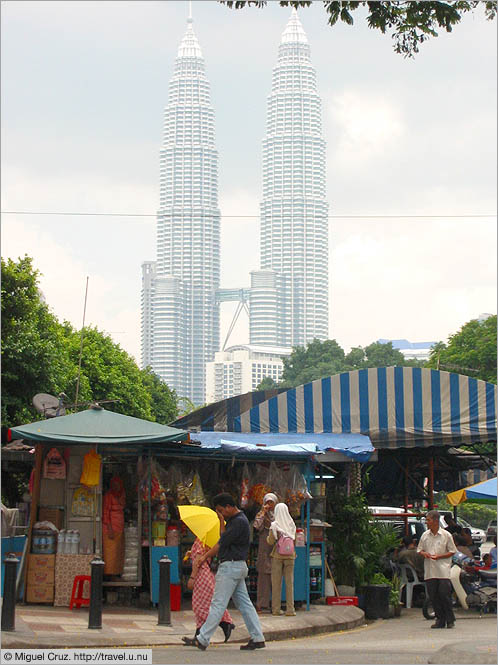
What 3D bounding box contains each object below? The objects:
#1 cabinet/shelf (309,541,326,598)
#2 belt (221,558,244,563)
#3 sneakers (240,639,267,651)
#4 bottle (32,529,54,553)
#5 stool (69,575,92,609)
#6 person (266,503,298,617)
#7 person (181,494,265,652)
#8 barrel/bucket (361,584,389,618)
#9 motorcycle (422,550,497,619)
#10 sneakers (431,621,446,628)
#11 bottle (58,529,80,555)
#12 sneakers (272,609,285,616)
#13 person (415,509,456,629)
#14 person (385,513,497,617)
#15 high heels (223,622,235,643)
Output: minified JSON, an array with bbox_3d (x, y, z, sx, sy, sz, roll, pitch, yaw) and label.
[{"bbox_3d":[0.972,3.403,18.508,0.232,0.822,0.650,0,-12,4],"label":"cabinet/shelf"},{"bbox_3d":[-0.191,2.481,14.116,0.219,0.045,0.057,0,-12,6],"label":"belt"},{"bbox_3d":[0.054,3.438,14.370,0.306,0.144,0.110,0,-8,10],"label":"sneakers"},{"bbox_3d":[-2.751,2.824,17.556,0.297,0.289,0.285,-1,-11,-2],"label":"bottle"},{"bbox_3d":[-2.226,3.436,17.237,0.235,0.430,0.161,0,-12,2],"label":"stool"},{"bbox_3d":[0.417,2.956,16.963,0.353,1.429,0.535,0,-12,2],"label":"person"},{"bbox_3d":[-0.220,2.637,14.332,0.749,1.664,0.634,0,-12,5],"label":"person"},{"bbox_3d":[1.786,3.801,18.417,0.428,0.440,0.432,0,-10,0],"label":"barrel/bucket"},{"bbox_3d":[3.313,3.778,19.492,1.324,0.856,0.659,2,-9,-3],"label":"motorcycle"},{"bbox_3d":[2.455,3.801,16.944,0.192,0.143,0.075,3,-8,6],"label":"sneakers"},{"bbox_3d":[-2.417,2.820,17.542,0.256,0.319,0.322,-3,-6,14],"label":"bottle"},{"bbox_3d":[0.384,3.662,17.070,0.062,0.075,0.176,2,-1,17],"label":"sneakers"},{"bbox_3d":[2.411,3.090,16.957,0.498,1.473,0.420,-6,-7,38],"label":"person"},{"bbox_3d":[2.804,3.452,18.898,1.818,1.238,1.075,3,-11,-15],"label":"person"},{"bbox_3d":[-0.225,3.422,14.831,0.128,0.301,0.099,8,11,-2],"label":"high heels"}]
